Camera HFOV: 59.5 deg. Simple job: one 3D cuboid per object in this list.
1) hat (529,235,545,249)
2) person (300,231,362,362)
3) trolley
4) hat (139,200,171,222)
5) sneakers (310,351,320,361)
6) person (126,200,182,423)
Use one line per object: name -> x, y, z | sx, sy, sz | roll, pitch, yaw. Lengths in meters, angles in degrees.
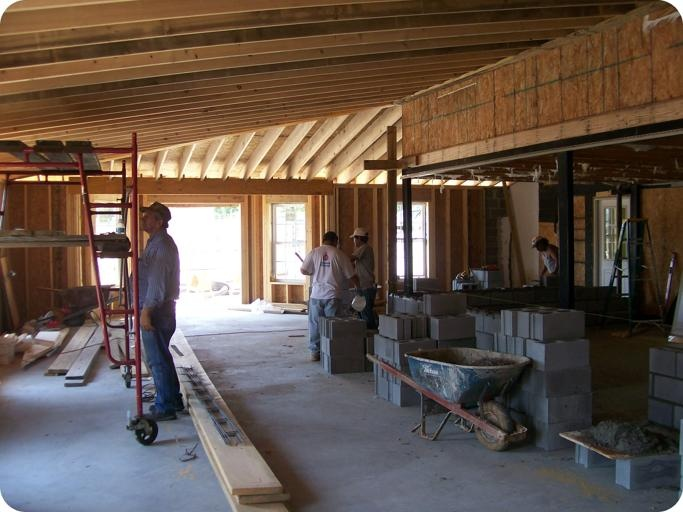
hat -> 3.705, -0.246, 11.075 | 0.221, 0.210, 0.474 | -2, 3, 8
person -> -0.159, 0.559, 8.260 | 0.766, 1.753, 0.444 | -2, 4, 3
trolley -> 1.180, 1.310, 5.508 | 0.899, 0.826, 1.134 | -4, 3, -28
hat -> -1.826, -0.442, 5.909 | 0.284, 0.122, 0.197 | 30, -9, -26
sneakers -> -0.375, 1.392, 8.325 | 0.150, 0.131, 0.138 | 1, -3, 26
person -> -1.802, 0.562, 5.856 | 0.396, 2.185, 0.409 | -4, 4, -14
